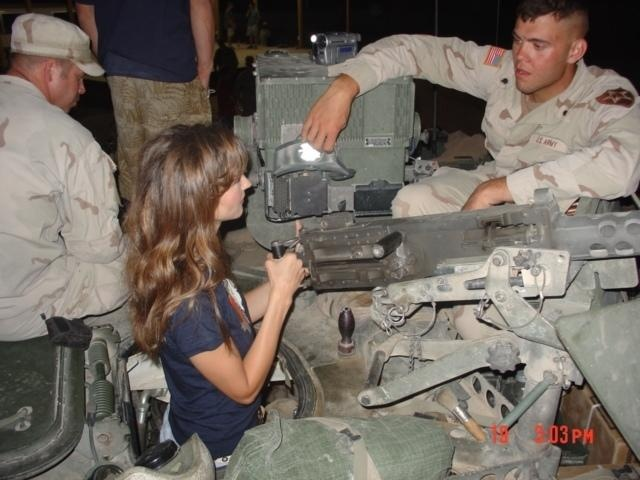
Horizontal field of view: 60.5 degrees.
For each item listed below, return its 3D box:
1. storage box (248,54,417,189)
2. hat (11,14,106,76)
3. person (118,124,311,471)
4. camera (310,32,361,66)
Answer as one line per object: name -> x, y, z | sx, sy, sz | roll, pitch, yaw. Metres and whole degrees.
storage box -> 0.242, -0.690, 4.595 | 1.461, 1.047, 1.426 | 4, -2, -4
hat -> -1.750, -1.288, 3.694 | 0.500, 0.289, 0.350 | 2, 33, -34
person -> -0.516, 0.297, 2.649 | 0.798, 1.688, 0.492 | -5, 10, -14
camera -> 0.126, -1.492, 4.151 | 0.305, 0.206, 0.239 | -17, 33, -26
